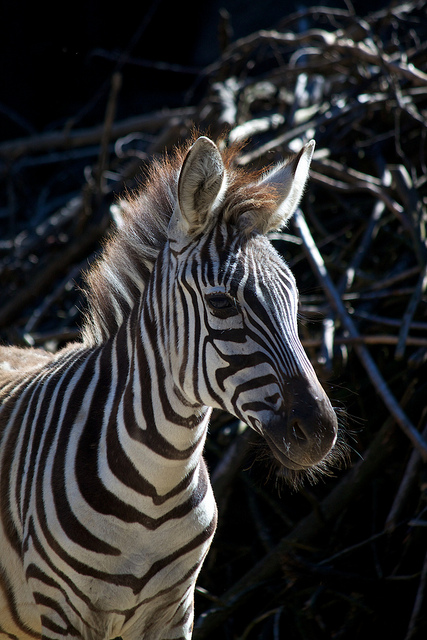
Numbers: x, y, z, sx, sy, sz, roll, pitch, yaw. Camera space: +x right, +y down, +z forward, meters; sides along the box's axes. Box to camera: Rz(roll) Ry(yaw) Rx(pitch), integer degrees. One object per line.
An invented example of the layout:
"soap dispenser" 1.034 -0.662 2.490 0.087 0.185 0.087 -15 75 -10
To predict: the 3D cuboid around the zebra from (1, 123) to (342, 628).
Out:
"zebra" -0.280 0.248 3.469 1.342 1.889 1.239 -10 39 -15
